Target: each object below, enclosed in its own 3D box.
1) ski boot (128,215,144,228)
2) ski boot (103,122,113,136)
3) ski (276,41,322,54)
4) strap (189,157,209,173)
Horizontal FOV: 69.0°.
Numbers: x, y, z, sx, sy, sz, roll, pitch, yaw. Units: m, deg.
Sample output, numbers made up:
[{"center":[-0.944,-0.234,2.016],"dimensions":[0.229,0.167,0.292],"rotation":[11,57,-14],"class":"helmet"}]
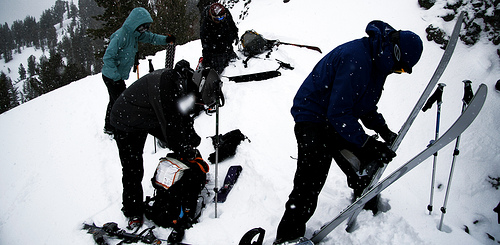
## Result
[{"center":[-3.811,3.293,12.212],"dimensions":[0.427,0.373,0.341],"rotation":[-5,-32,8],"class":"ski boot"},{"center":[-5.622,0.227,14.329],"dimensions":[0.410,0.384,0.135],"rotation":[0,6,28],"class":"ski boot"},{"center":[2.127,-3.233,15.627],"dimensions":[1.930,0.259,0.270],"rotation":[13,-3,23],"class":"ski"},{"center":[-1.750,1.444,12.400],"dimensions":[0.150,0.600,0.364],"rotation":[-42,11,45],"class":"strap"}]
